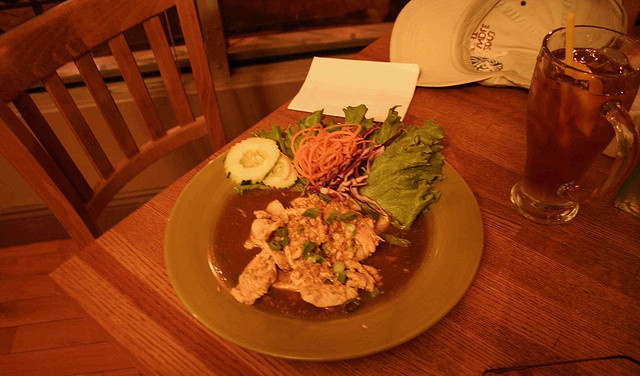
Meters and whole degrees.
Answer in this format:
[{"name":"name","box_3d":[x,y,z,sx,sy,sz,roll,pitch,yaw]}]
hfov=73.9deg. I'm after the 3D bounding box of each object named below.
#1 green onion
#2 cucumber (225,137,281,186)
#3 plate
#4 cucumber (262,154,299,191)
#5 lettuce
[{"name":"green onion","box_3d":[0.023,0.181,1.307,0.315,0.048,0.319,40,66,21]},{"name":"cucumber","box_3d":[-0.218,-0.091,1.498,0.157,0.049,0.170,30,71,31]},{"name":"plate","box_3d":[0.045,0.041,1.564,1.143,0.467,0.910,-3,28,-2]},{"name":"cucumber","box_3d":[-0.136,-0.059,1.538,0.176,0.091,0.125,-18,34,-24]},{"name":"lettuce","box_3d":[0.169,-0.138,1.755,0.835,0.448,0.646,9,35,20]}]
